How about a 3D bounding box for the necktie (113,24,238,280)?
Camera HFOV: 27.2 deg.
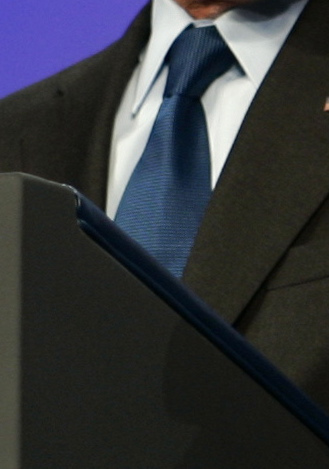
[{"bbox_3d":[0.033,-0.064,0.591,0.089,0.026,0.242,5,62,31],"label":"necktie"}]
